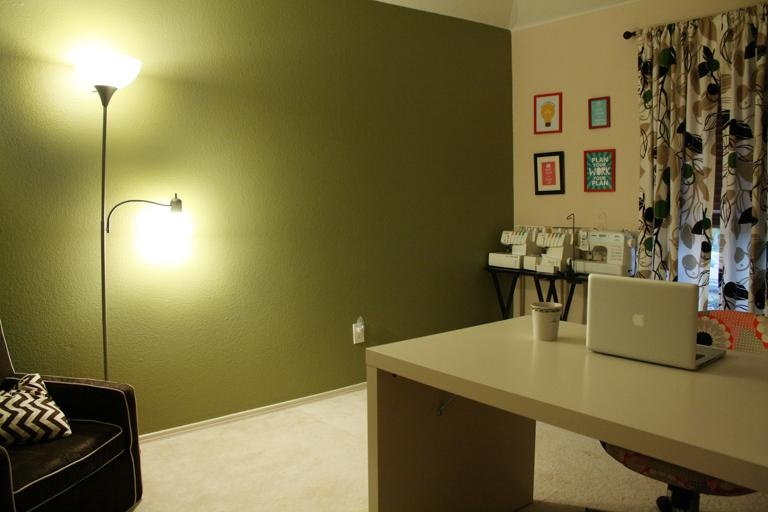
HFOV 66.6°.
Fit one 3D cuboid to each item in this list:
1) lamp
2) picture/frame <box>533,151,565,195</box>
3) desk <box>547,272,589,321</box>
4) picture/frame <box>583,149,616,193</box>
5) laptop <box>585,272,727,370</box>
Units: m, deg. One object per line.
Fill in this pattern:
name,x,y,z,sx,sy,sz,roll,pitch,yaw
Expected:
lamp,-1.641,-0.280,3.809,0.570,2.187,0.390,-4,5,-29
picture/frame,1.529,-0.768,5.376,0.066,0.548,0.399,1,-1,-43
desk,1.492,0.326,4.699,0.265,0.410,0.403,-2,-1,43
picture/frame,1.876,-0.742,5.059,0.023,0.531,0.373,0,0,-37
laptop,1.231,0.247,2.687,0.508,0.432,0.418,2,5,42
